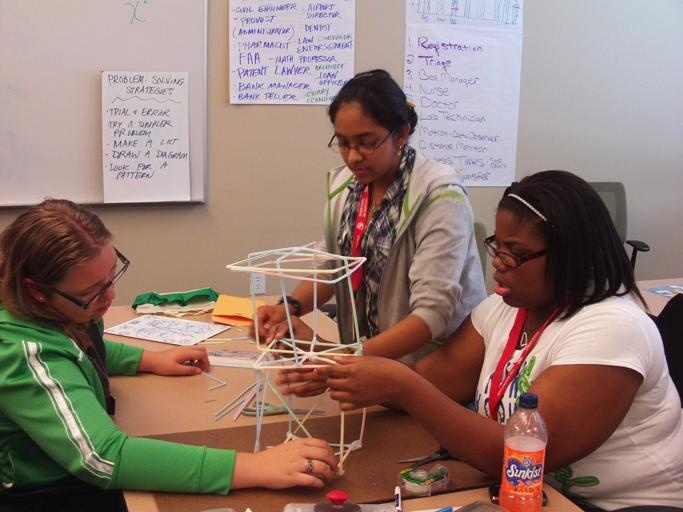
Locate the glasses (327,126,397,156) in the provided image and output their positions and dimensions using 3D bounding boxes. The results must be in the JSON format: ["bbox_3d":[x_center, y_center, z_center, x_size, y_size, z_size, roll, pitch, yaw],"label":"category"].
[{"bbox_3d":[0.068,-0.389,1.764,0.223,0.074,0.112,5,14,14],"label":"glasses"}]

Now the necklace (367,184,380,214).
[{"bbox_3d":[0.123,-0.206,1.888,0.032,0.093,0.064,-7,8,-23],"label":"necklace"}]

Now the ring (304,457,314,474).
[{"bbox_3d":[-0.080,0.500,1.235,0.021,0.028,0.012,4,0,1],"label":"ring"}]

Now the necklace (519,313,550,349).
[{"bbox_3d":[0.518,0.198,1.390,0.055,0.100,0.025,4,51,2],"label":"necklace"}]
